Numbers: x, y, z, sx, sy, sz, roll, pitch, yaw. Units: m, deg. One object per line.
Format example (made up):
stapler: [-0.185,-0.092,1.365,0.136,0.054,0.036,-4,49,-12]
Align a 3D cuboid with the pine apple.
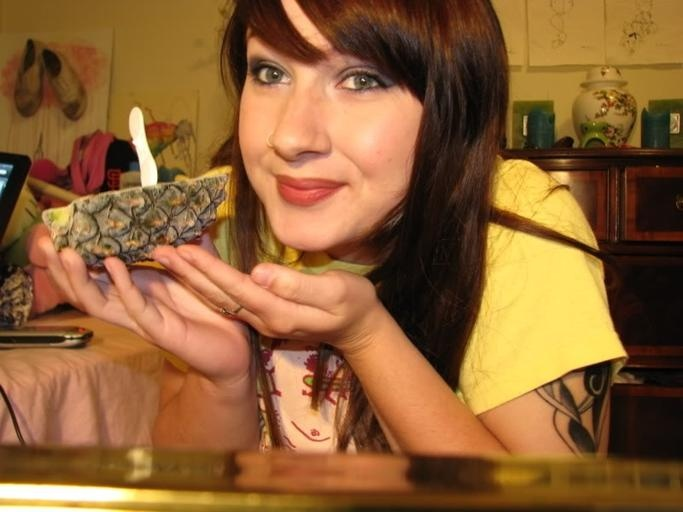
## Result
pine apple: [-0.383,-0.063,1.301,0.350,0.152,0.380,-5,12,16]
